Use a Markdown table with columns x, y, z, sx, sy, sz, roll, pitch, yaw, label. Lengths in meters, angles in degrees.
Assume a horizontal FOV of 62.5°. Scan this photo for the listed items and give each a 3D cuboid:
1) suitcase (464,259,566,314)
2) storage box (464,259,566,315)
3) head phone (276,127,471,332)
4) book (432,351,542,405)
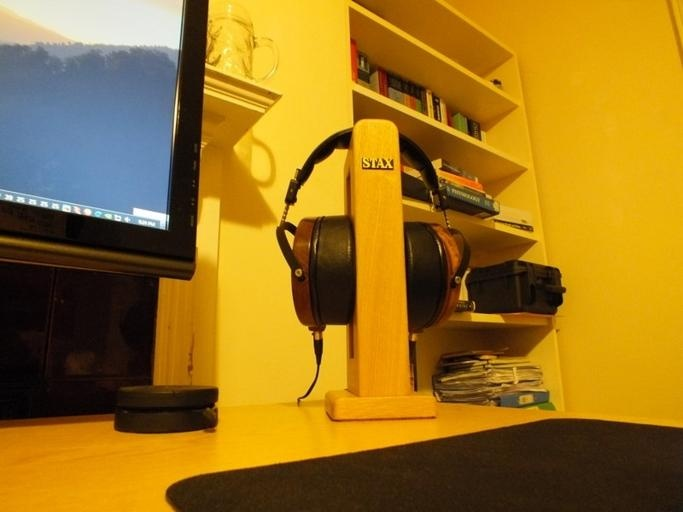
| x | y | z | sx | sy | sz | roll | pitch | yaw | label |
| --- | --- | --- | --- | --- | --- | --- | --- | --- | --- |
| 0.580 | 0.121 | 1.907 | 0.296 | 0.143 | 0.269 | 8 | -14 | -36 | suitcase |
| 0.578 | 0.117 | 1.897 | 0.270 | 0.142 | 0.300 | -13 | -20 | 28 | storage box |
| 0.057 | -0.047 | 1.006 | 0.329 | 0.361 | 0.220 | 1 | 2 | 2 | head phone |
| 0.449 | 0.385 | 1.723 | 0.241 | 0.103 | 0.228 | 8 | -17 | -25 | book |
